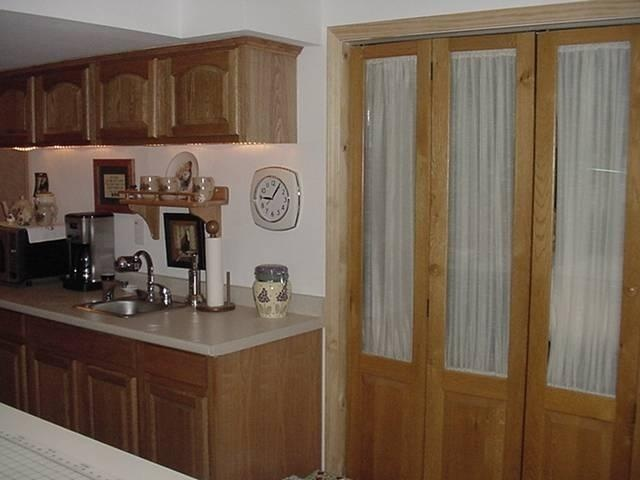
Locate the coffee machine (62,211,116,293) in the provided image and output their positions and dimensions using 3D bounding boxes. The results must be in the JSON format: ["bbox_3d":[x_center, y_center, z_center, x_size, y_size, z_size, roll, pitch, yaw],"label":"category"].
[{"bbox_3d":[-1.592,0.060,3.889,0.291,0.488,0.297,4,6,15],"label":"coffee machine"}]

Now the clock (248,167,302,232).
[{"bbox_3d":[-0.245,-0.228,3.209,0.324,0.340,0.043,10,8,43],"label":"clock"}]

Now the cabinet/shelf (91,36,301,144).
[{"bbox_3d":[-0.774,-0.823,3.333,1.298,0.548,0.446,5,10,32],"label":"cabinet/shelf"}]

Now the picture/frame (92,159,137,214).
[{"bbox_3d":[-1.427,-0.377,3.936,0.373,0.376,0.027,1,3,25],"label":"picture/frame"}]

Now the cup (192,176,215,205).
[{"bbox_3d":[-0.681,-0.280,3.277,0.143,0.197,0.076,4,8,8],"label":"cup"}]

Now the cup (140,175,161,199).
[{"bbox_3d":[-1.024,-0.313,3.398,0.131,0.154,0.134,1,6,0],"label":"cup"}]

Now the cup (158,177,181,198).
[{"bbox_3d":[-0.892,-0.298,3.329,0.120,0.130,0.178,-2,6,-17],"label":"cup"}]

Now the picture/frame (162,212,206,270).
[{"bbox_3d":[-0.855,0.004,3.584,0.324,0.378,0.026,8,13,42],"label":"picture/frame"}]
